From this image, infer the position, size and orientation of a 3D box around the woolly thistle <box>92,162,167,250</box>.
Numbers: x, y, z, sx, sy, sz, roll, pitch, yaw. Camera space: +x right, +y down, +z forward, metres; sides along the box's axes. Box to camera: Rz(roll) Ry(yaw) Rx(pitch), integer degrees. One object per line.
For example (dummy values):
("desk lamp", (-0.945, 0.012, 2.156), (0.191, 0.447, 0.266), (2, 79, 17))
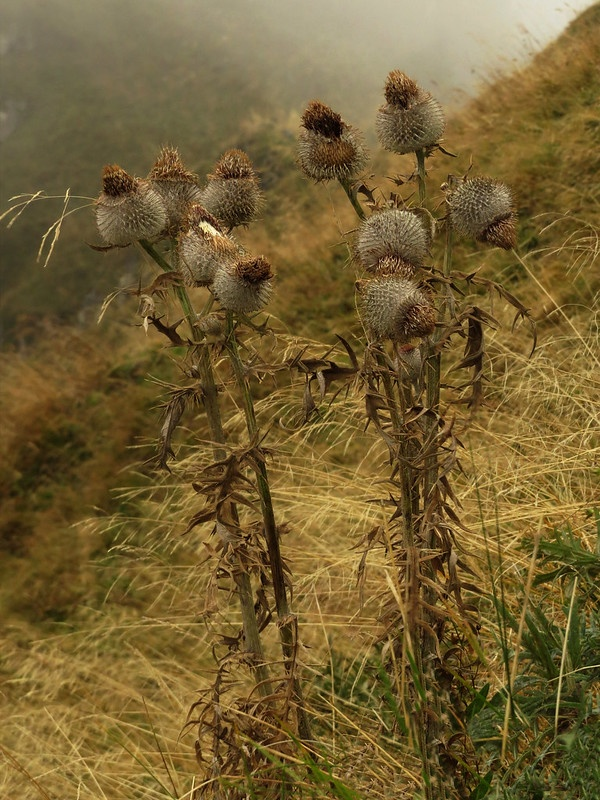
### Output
("woolly thistle", (-0.641, -0.734, 3.884), (0.241, 0.294, 0.233), (-30, 25, -37))

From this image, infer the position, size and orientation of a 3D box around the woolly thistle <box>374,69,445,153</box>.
("woolly thistle", (0.415, -1.115, 3.974), (0.282, 0.263, 0.267), (0, 38, 18))

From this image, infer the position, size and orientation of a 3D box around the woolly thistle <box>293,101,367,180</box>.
("woolly thistle", (0.103, -0.976, 3.929), (0.256, 0.314, 0.184), (-11, 21, 9))

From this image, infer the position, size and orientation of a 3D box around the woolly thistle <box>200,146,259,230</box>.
("woolly thistle", (-0.250, -0.839, 4.122), (0.264, 0.261, 0.228), (-9, 21, -12))

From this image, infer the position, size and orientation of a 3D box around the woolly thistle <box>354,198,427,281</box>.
("woolly thistle", (0.332, -0.567, 3.743), (0.288, 0.227, 0.254), (-7, 13, -5))

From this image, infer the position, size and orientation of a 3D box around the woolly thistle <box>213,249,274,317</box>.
("woolly thistle", (-0.196, -0.417, 3.805), (0.175, 0.193, 0.196), (-3, 22, 29))

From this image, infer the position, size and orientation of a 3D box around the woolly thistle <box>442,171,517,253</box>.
("woolly thistle", (0.658, -0.723, 3.885), (0.284, 0.218, 0.407), (5, 12, 29))
